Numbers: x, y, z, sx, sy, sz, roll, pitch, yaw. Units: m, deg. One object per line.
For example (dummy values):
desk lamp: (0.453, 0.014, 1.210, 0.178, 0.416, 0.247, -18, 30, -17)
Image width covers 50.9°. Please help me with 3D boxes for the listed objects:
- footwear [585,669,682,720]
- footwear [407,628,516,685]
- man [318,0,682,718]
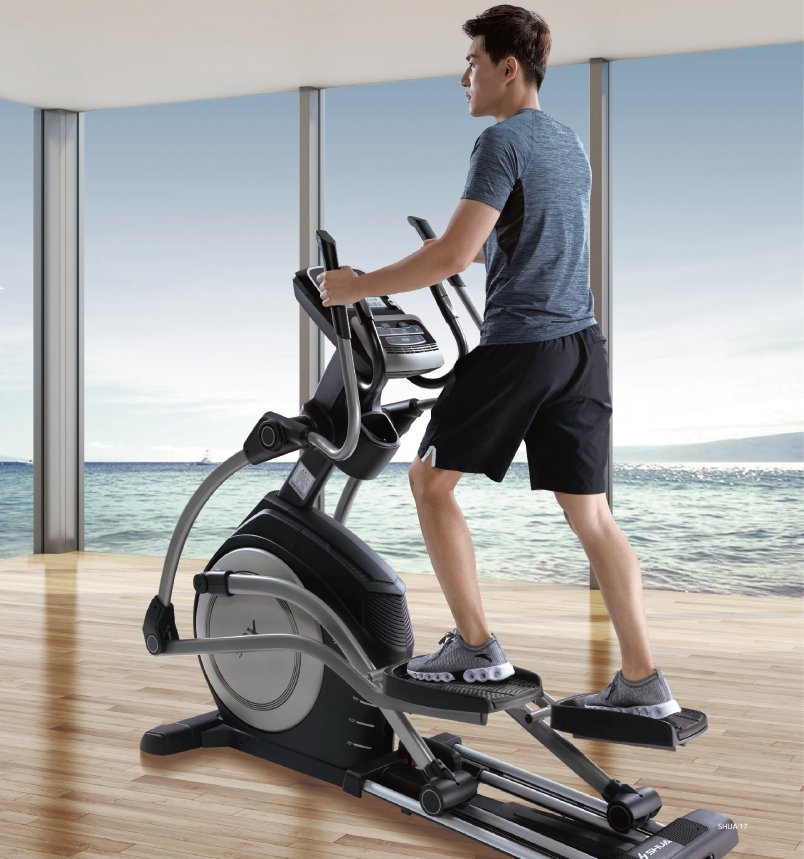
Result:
footwear: (0.402, 0.474, 1.533, 0.195, 0.062, 0.072, -3, -9, 39)
footwear: (0.106, 0.410, 1.548, 0.234, 0.086, 0.080, -15, -9, 39)
man: (0.173, -0.136, 1.525, 0.633, 1.163, 0.248, 1, 0, -8)
